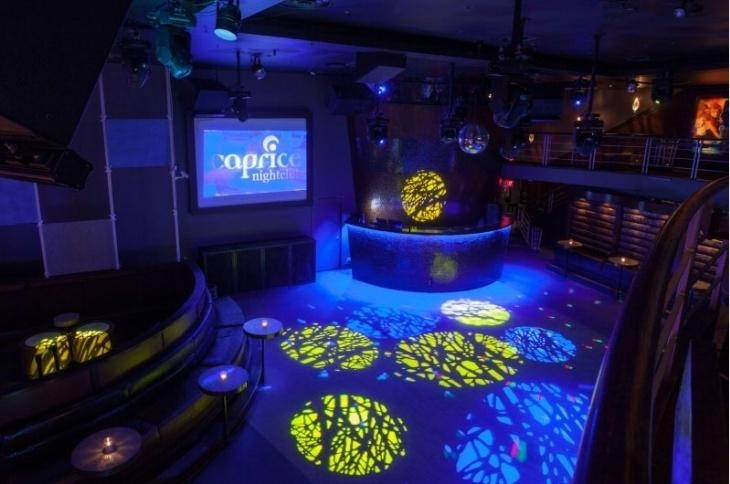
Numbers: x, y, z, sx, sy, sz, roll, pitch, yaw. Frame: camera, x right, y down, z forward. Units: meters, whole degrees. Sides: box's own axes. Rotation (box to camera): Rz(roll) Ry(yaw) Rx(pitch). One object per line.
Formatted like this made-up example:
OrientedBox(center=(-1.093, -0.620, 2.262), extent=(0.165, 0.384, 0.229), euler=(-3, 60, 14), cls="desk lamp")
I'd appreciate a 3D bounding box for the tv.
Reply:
OrientedBox(center=(-2.427, -1.660, 9.503), extent=(2.148, 1.498, 0.207), euler=(-4, 10, -27), cls="tv")
